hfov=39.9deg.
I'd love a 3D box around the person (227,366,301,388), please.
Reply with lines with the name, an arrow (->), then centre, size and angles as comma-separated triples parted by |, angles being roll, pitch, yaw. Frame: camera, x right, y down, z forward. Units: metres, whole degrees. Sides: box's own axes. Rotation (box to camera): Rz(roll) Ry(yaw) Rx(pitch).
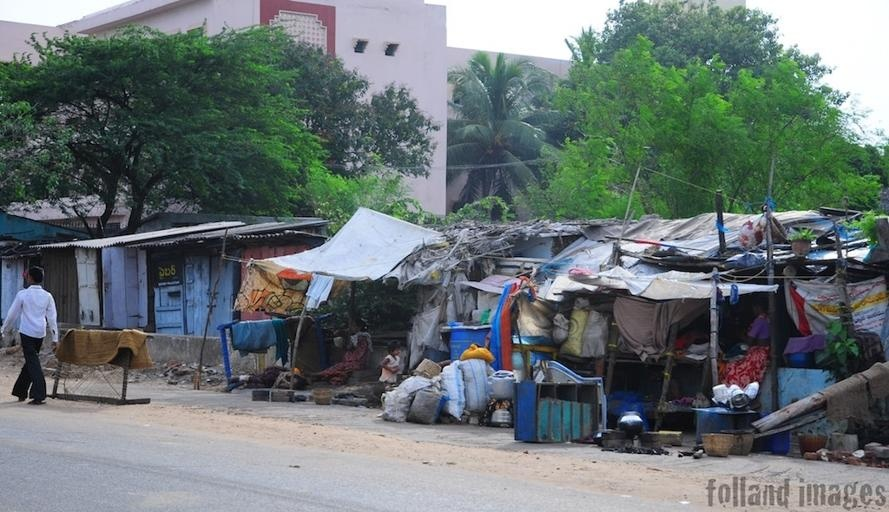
person -> -5.735, 3.916, 39.268 | 1.579, 0.481, 1.044 | -3, -5, 14

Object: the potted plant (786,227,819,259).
potted plant -> 10.123, -0.412, 34.975 | 0.980, 0.791, 0.903 | 1, -6, 8
